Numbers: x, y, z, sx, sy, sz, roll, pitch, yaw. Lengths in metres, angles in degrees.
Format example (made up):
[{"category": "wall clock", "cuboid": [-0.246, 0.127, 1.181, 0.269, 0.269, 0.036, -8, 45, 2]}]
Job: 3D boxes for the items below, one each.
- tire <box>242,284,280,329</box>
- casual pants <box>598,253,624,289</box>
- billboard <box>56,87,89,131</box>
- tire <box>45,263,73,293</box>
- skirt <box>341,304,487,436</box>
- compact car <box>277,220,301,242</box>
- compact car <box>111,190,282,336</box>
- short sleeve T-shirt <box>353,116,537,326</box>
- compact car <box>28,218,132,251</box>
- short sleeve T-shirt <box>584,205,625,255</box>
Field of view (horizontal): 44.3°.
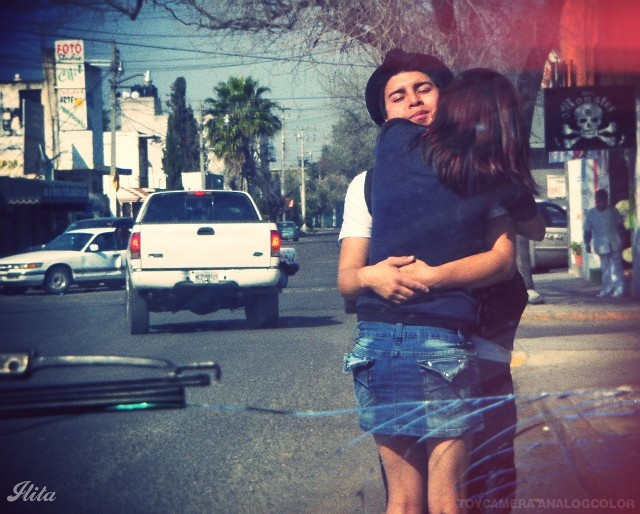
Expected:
[{"category": "tire", "cuboid": [-0.847, 0.702, 11.380, 0.231, 0.692, 0.615, 0, 0, -23]}, {"category": "casual pants", "cuboid": [5.247, 0.229, 14.057, 0.265, 1.005, 0.399, 22, -24, -30]}, {"category": "billboard", "cuboid": [-9.569, -5.945, 30.414, 1.206, 1.710, 0.893, -3, 32, -19]}, {"category": "tire", "cuboid": [-6.380, 0.466, 19.063, 0.625, 0.741, 0.236, 0, 0, -18]}, {"category": "skirt", "cuboid": [0.390, 0.505, 3.325, 0.589, 0.544, 0.435, 1, 3, 18]}, {"category": "compact car", "cuboid": [-2.012, -1.731, 51.550, 1.102, 0.958, 2.677, 0, 0, 0]}, {"category": "compact car", "cuboid": [-1.540, 0.003, 10.765, 1.336, 1.372, 2.781, -1, 5, -9]}, {"category": "short sleeve T-shirt", "cuboid": [0.504, -0.040, 3.545, 0.867, 1.004, 0.534, 0, -27, 23]}, {"category": "compact car", "cuboid": [-6.165, -0.583, 20.147, 1.854, 0.909, 0.880, 0, 0, -33]}, {"category": "short sleeve T-shirt", "cuboid": [5.246, -0.505, 14.372, 0.687, 0.956, 0.529, -3, -18, 6]}]
